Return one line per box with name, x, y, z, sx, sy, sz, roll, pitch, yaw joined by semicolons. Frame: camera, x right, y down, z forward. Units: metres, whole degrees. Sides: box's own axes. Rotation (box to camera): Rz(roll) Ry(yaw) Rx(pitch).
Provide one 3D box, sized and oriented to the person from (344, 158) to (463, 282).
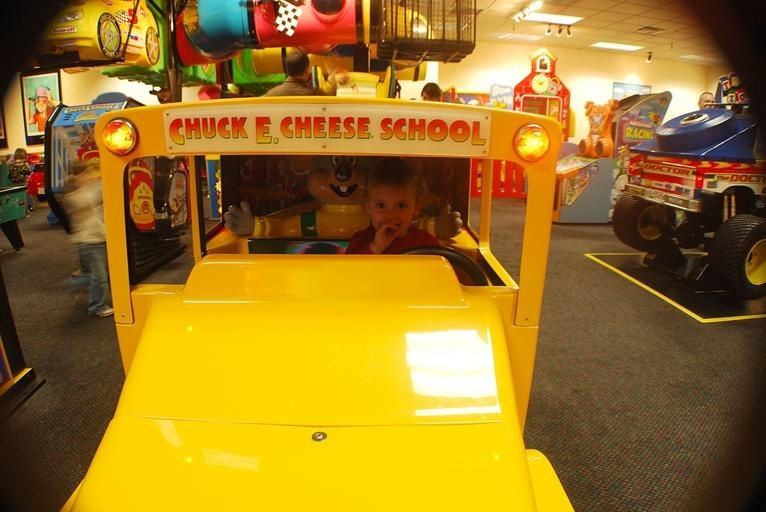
person;0.091;-0.189;2.712;0.652;0.891;0.461;-5;14;-1
